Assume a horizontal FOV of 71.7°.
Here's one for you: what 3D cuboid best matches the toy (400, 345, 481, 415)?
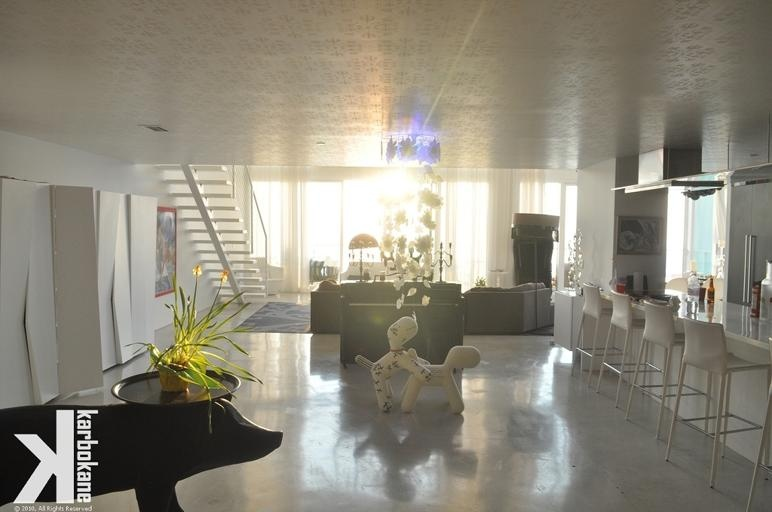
[{"bbox_3d":[0.589,1.366,6.093,1.040,0.864,0.580,-2,-1,4],"label":"toy"}]

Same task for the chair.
[{"bbox_3d":[2.986,1.465,5.503,0.501,0.919,1.891,-1,3,-5],"label":"chair"}]

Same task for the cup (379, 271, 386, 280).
[{"bbox_3d":[-0.050,0.287,7.988,0.086,0.146,0.155,-5,8,-32],"label":"cup"}]

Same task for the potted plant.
[{"bbox_3d":[-1.473,0.553,3.830,0.894,0.836,0.898,4,5,43],"label":"potted plant"}]

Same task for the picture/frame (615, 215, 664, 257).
[{"bbox_3d":[3.532,-0.306,7.444,0.596,0.483,0.056,0,0,-3],"label":"picture/frame"}]

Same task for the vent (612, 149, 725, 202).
[{"bbox_3d":[3.411,-0.997,6.452,1.009,0.619,2.041,5,12,22],"label":"vent"}]
